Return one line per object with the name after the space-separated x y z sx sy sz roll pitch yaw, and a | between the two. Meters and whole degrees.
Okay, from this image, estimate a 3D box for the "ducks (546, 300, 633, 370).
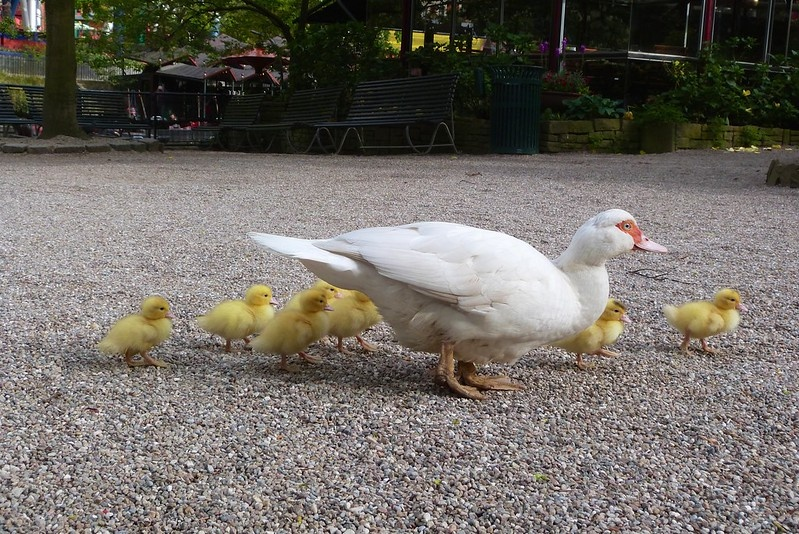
1.106 0.378 4.350 0.607 0.395 0.349 4 4 28 | "ducks

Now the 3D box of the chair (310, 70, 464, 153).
-0.149 -3.272 15.255 3.076 1.810 2.046 6 16 16 | chair

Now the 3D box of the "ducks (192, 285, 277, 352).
-1.023 0.288 4.374 0.515 0.362 0.319 2 14 -15 | "ducks

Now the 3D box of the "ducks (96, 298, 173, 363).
-1.551 0.365 4.059 0.450 0.372 0.282 -1 4 -30 | "ducks

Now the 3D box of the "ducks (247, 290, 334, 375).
-0.648 0.353 4.125 0.515 0.427 0.347 -2 11 -16 | "ducks

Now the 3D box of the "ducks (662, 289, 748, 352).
1.922 0.332 4.472 0.515 0.349 0.293 2 2 18 | "ducks
